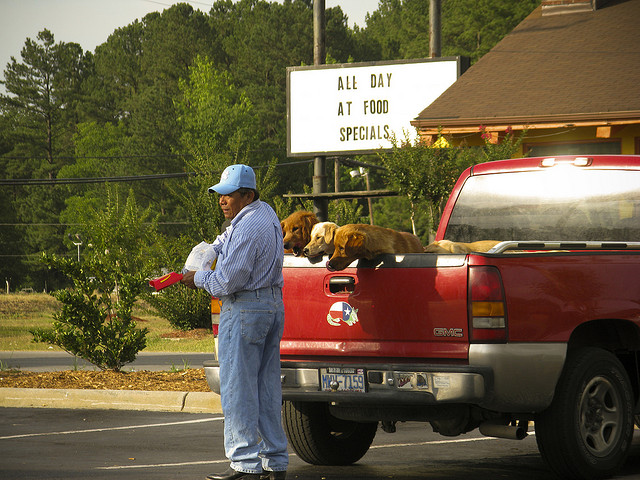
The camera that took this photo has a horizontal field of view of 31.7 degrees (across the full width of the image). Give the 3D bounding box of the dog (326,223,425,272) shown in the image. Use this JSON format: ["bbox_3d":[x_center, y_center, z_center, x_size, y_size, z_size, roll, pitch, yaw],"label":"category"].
[{"bbox_3d":[0.628,0.048,11.681,1.341,0.494,0.450,-12,12,-36],"label":"dog"}]

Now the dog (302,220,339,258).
[{"bbox_3d":[-0.021,-0.015,11.872,0.364,0.375,0.614,-2,-1,25],"label":"dog"}]

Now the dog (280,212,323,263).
[{"bbox_3d":[-0.330,0.023,12.285,0.431,0.606,0.449,-10,-13,17],"label":"dog"}]

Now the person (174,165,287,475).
[{"bbox_3d":[-0.788,0.793,11.154,0.891,3.082,0.554,0,4,-6],"label":"person"}]
